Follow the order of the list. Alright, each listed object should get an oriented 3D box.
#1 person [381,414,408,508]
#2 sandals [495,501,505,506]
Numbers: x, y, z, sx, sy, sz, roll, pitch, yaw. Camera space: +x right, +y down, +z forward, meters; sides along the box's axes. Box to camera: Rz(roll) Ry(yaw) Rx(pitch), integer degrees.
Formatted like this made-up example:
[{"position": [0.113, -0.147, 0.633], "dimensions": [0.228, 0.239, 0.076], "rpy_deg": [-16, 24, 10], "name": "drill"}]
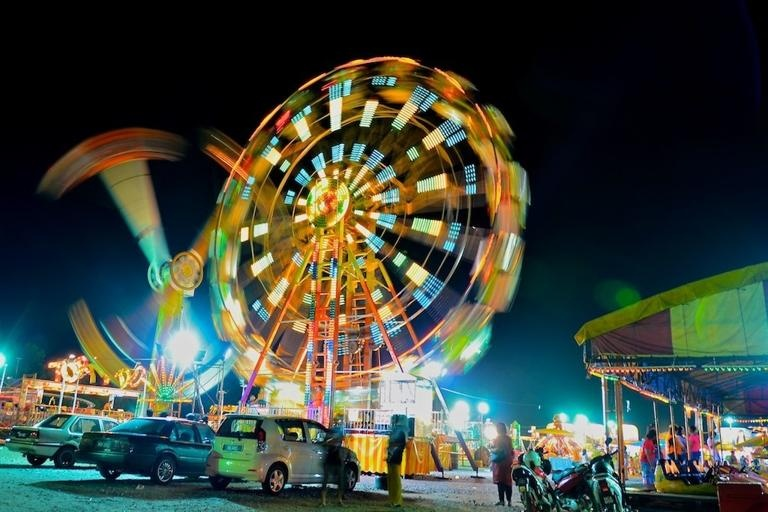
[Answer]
[{"position": [0.286, 4.671, 11.996], "dimensions": [0.447, 1.956, 0.564], "rpy_deg": [1, -25, 6], "name": "person"}, {"position": [2.861, 6.119, 12.835], "dimensions": [0.078, 0.101, 0.234], "rpy_deg": [4, -7, -20], "name": "sandals"}]
